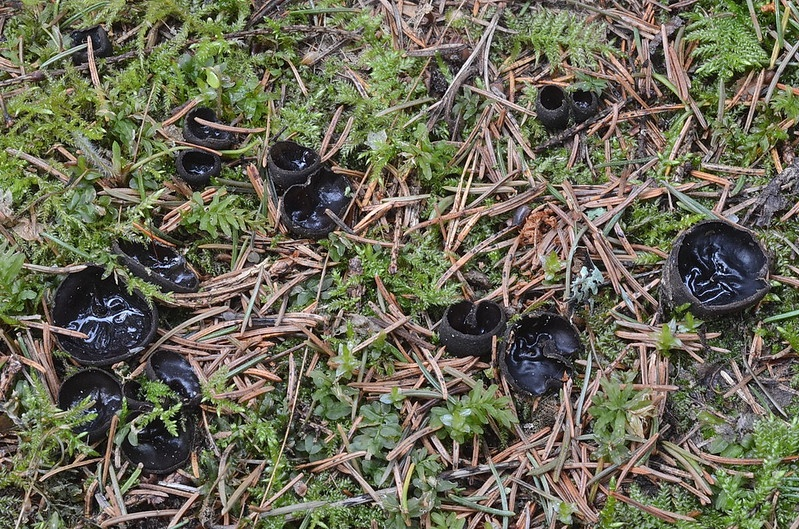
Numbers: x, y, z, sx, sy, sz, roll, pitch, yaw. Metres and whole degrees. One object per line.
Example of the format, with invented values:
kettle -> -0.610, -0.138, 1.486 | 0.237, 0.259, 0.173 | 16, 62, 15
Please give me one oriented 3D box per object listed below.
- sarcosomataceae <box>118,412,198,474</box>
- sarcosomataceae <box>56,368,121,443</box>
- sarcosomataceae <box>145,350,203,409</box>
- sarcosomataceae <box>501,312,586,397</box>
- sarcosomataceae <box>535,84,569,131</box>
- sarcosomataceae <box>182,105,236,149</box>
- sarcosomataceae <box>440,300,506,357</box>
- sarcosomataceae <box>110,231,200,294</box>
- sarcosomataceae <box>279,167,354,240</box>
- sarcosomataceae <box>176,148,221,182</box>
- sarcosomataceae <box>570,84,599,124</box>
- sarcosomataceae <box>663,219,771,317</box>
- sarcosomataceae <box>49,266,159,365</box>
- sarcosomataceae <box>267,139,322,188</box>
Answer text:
sarcosomataceae -> -1.768, 1.346, 5.344 | 0.525, 0.097, 0.366 | -29, 76, -3
sarcosomataceae -> -2.277, 1.016, 5.347 | 0.467, 0.191, 0.475 | -44, 77, -6
sarcosomataceae -> -1.682, 0.915, 5.419 | 0.473, 0.628, 0.236 | 22, 92, -23
sarcosomataceae -> 1.046, 0.638, 5.292 | 0.675, 0.322, 0.769 | -2, 30, 28
sarcosomataceae -> 1.251, -1.374, 5.920 | 0.245, 0.194, 0.184 | 2, 92, -14
sarcosomataceae -> -1.536, -1.110, 5.864 | 0.405, 0.176, 0.336 | 16, 78, 8
sarcosomataceae -> 0.537, 0.481, 5.421 | 0.493, 0.213, 0.426 | -1, 77, 5
sarcosomataceae -> -1.897, 0.004, 5.607 | 0.649, 0.173, 0.354 | 25, 67, -13
sarcosomataceae -> -0.640, -0.483, 5.731 | 0.590, 0.178, 0.470 | -41, 77, -5
sarcosomataceae -> -1.616, -0.795, 5.790 | 0.335, 0.143, 0.286 | 6, 77, 6
sarcosomataceae -> 1.471, -1.286, 5.799 | 0.221, 0.197, 0.276 | -4, 54, 3
sarcosomataceae -> 2.318, 0.033, 5.299 | 0.758, 0.365, 0.651 | -19, 78, 4
sarcosomataceae -> -2.272, 0.422, 5.488 | 0.803, 0.214, 0.675 | 32, 81, 11
sarcosomataceae -> -0.876, -0.931, 6.005 | 0.481, 0.336, 0.432 | 11, 27, 24
